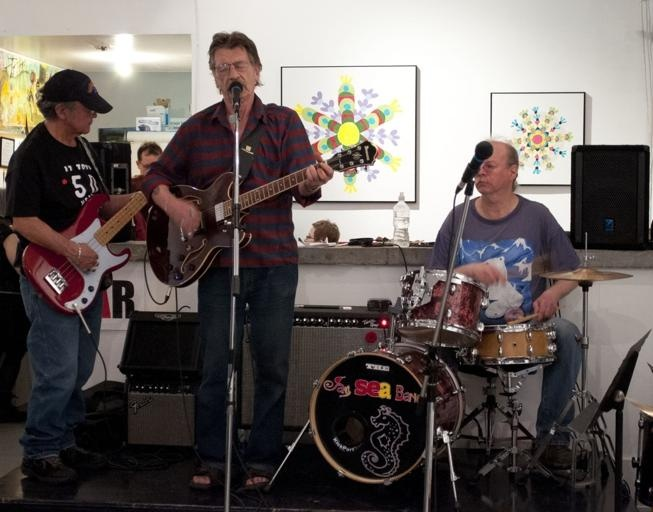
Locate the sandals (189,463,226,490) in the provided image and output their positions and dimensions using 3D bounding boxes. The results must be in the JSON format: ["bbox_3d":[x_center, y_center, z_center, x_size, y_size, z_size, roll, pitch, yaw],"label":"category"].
[{"bbox_3d":[-0.581,1.088,3.234,0.225,0.099,0.084,3,-7,8],"label":"sandals"}]

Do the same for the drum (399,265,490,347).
[{"bbox_3d":[0.539,0.248,3.130,0.351,0.278,0.387,9,-23,19],"label":"drum"}]

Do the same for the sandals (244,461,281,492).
[{"bbox_3d":[-0.323,1.087,3.212,0.199,0.097,0.075,9,-9,-18],"label":"sandals"}]

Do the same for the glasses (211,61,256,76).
[{"bbox_3d":[-0.431,-0.875,3.078,0.201,0.062,0.110,0,7,-7],"label":"glasses"}]

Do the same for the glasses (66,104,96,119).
[{"bbox_3d":[-1.250,-0.733,3.352,0.089,0.025,0.055,15,-3,-36],"label":"glasses"}]

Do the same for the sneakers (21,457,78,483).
[{"bbox_3d":[-1.371,1.067,3.334,0.272,0.148,0.117,5,-1,9],"label":"sneakers"}]

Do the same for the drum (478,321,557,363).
[{"bbox_3d":[0.957,0.447,3.281,0.424,0.235,0.148,-2,7,-23],"label":"drum"}]

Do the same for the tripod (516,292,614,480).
[{"bbox_3d":[1.222,0.747,3.374,0.280,0.791,0.534,3,7,19],"label":"tripod"}]

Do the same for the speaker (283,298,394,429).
[{"bbox_3d":[0.011,0.475,3.914,0.809,0.904,0.518,3,5,3],"label":"speaker"}]

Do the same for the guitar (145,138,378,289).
[{"bbox_3d":[-0.397,-0.199,3.088,1.221,0.571,0.155,-27,-20,33],"label":"guitar"}]

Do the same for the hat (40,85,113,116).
[{"bbox_3d":[-1.274,-0.790,3.381,0.230,0.138,0.163,-8,14,-10],"label":"hat"}]

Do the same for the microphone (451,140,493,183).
[{"bbox_3d":[0.594,-0.376,2.728,0.072,0.246,0.064,39,43,15],"label":"microphone"}]

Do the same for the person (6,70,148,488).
[{"bbox_3d":[-1.326,0.079,3.375,0.397,2.058,0.522,6,8,36],"label":"person"}]
